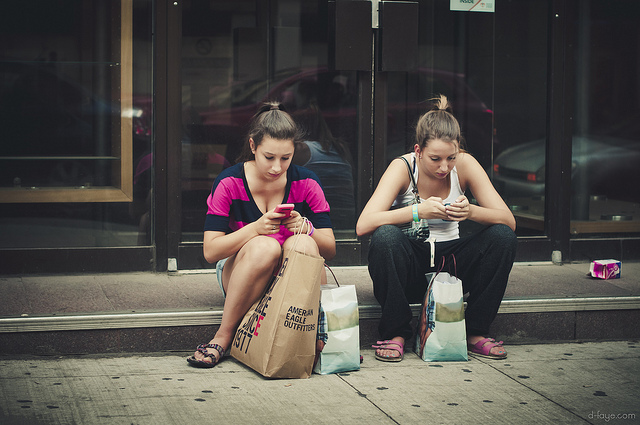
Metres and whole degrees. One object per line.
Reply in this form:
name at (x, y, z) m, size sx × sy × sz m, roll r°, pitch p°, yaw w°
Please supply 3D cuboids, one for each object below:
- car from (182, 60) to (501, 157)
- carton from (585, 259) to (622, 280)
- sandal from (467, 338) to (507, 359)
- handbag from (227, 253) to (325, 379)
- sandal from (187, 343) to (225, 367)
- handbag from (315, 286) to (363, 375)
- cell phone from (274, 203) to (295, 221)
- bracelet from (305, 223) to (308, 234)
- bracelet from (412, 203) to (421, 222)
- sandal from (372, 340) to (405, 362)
car at (0.155, -1.060, 5.824) m, size 2.288 × 0.776 × 0.989 m, roll 2°, pitch 23°, yaw -8°
carton at (2.384, 0.470, 5.432) m, size 0.153 × 0.108 × 0.208 m, roll 0°, pitch 3°, yaw 4°
sandal at (1.162, 0.949, 4.587) m, size 0.114 × 0.092 × 0.302 m, roll -6°, pitch 5°, yaw -45°
handbag at (-0.259, 0.656, 4.131) m, size 0.279 × 0.833 × 0.679 m, roll 25°, pitch -5°, yaw -25°
sandal at (-0.764, 0.950, 4.346) m, size 0.246 × 0.140 × 0.132 m, roll 0°, pitch 6°, yaw -11°
handbag at (0.222, 0.821, 4.331) m, size 0.391 × 0.560 × 0.423 m, roll -9°, pitch -14°, yaw 9°
cell phone at (-0.231, 0.001, 4.176) m, size 0.119 × 0.022 × 0.207 m, roll 7°, pitch -36°, yaw -19°
bracelet at (-0.094, 0.103, 4.313) m, size 0.013 × 0.068 × 0.032 m, roll 3°, pitch 6°, yaw 24°
bracelet at (0.660, -0.001, 4.506) m, size 0.066 × 0.093 × 0.098 m, roll -8°, pitch 8°, yaw -9°
sandal at (0.459, 0.949, 4.528) m, size 0.235 × 0.137 × 0.150 m, roll 3°, pitch 6°, yaw 22°
